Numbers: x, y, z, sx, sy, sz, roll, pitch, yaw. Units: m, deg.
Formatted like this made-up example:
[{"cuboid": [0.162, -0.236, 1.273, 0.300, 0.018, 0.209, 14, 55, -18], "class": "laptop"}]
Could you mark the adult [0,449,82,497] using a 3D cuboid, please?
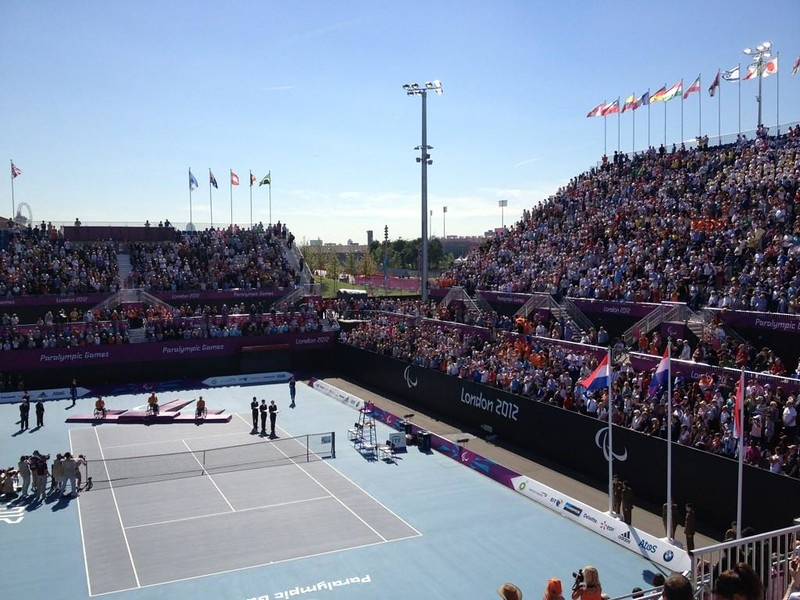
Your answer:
[{"cuboid": [-16.290, 8.272, 36.043, 2.577, 1.908, 1.184, -2, 10, -5], "class": "adult"}]
